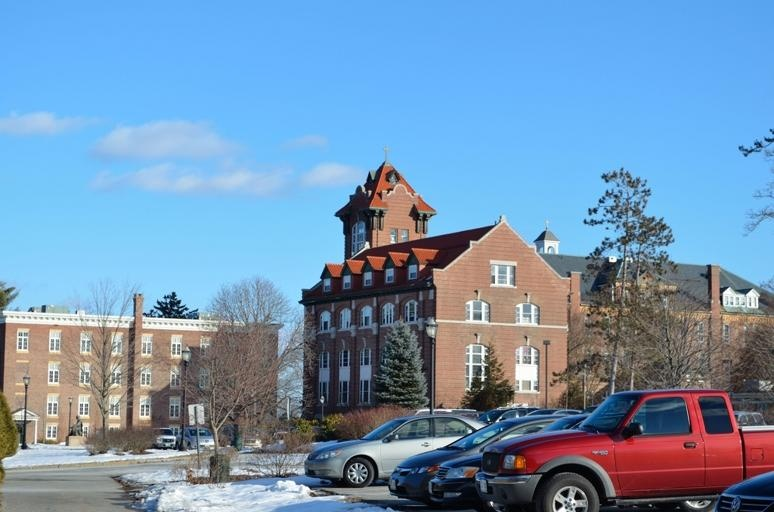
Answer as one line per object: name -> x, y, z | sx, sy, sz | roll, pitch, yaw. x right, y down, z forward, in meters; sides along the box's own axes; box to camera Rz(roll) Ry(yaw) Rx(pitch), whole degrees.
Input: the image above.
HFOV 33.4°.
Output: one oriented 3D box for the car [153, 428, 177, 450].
car -> -15.638, 12.842, 90.157 | 1.227, 1.164, 2.456 | 2, -12, -17
